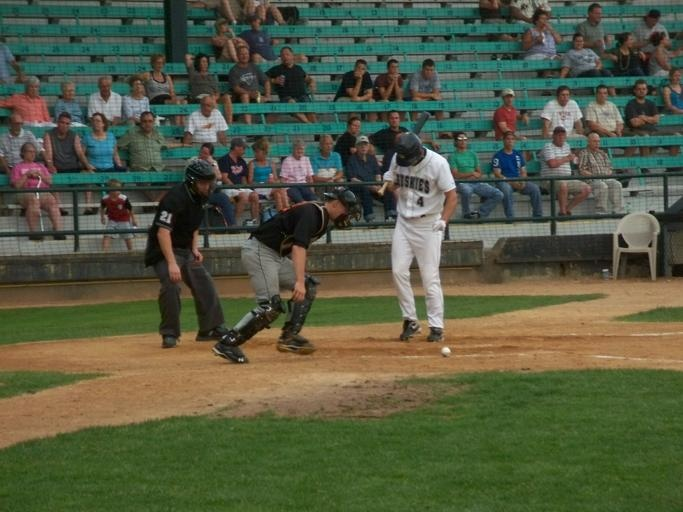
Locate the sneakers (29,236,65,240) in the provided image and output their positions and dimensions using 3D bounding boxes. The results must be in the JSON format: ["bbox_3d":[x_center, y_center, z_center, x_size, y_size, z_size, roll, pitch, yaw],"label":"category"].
[{"bbox_3d":[-5.310,-0.304,24.172,0.671,0.082,0.156,2,-1,-16],"label":"sneakers"}]

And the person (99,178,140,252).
[{"bbox_3d":[-4.090,-0.715,24.446,0.667,1.331,0.626,-4,6,-8],"label":"person"}]

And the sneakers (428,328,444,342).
[{"bbox_3d":[1.413,1.190,19.598,0.227,0.196,0.281,-3,5,4],"label":"sneakers"}]

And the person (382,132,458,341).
[{"bbox_3d":[1.218,-0.268,19.680,1.054,3.102,0.713,-3,6,8],"label":"person"}]

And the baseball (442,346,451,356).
[{"bbox_3d":[1.516,1.378,18.563,0.130,0.125,0.116,-5,33,-9],"label":"baseball"}]

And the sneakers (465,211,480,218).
[{"bbox_3d":[2.593,-0.779,25.999,0.271,0.125,0.190,-1,5,21],"label":"sneakers"}]

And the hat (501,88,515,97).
[{"bbox_3d":[3.512,-3.407,27.621,0.224,0.131,0.278,-1,-3,2],"label":"hat"}]

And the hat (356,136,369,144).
[{"bbox_3d":[0.438,-2.248,25.730,0.236,0.155,0.320,-3,5,0],"label":"hat"}]

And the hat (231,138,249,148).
[{"bbox_3d":[-1.882,-2.115,25.088,0.268,0.121,0.186,-19,28,-31],"label":"hat"}]

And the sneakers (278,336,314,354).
[{"bbox_3d":[-0.612,1.293,18.565,0.481,0.183,0.229,-1,-1,1],"label":"sneakers"}]

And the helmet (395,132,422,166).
[{"bbox_3d":[1.041,-1.547,19.484,0.427,0.504,0.329,-3,6,2],"label":"helmet"}]

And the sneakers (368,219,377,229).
[{"bbox_3d":[0.635,-0.578,25.493,0.173,0.189,0.335,-3,5,1],"label":"sneakers"}]

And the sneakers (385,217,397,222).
[{"bbox_3d":[1.003,-0.678,25.666,0.089,0.092,0.240,3,5,-8],"label":"sneakers"}]

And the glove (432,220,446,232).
[{"bbox_3d":[1.479,-0.426,19.583,0.183,0.186,0.227,-3,5,4],"label":"glove"}]
